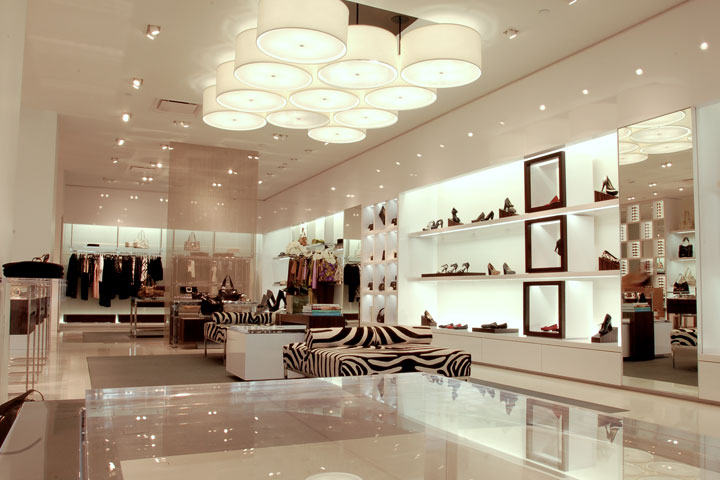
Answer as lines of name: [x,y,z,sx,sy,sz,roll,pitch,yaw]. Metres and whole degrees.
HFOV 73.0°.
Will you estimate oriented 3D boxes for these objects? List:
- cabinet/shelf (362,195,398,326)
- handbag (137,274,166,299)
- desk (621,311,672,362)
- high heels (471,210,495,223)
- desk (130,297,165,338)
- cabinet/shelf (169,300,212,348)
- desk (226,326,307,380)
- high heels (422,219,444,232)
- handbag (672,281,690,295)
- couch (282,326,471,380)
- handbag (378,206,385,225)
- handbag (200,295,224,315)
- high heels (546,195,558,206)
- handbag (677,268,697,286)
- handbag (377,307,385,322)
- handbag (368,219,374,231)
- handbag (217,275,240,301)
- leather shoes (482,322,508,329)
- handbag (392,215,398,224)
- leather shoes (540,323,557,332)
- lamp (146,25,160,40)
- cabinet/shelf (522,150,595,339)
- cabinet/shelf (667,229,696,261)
cabinet/shelf: [0.295,0.424,9.047,0.369,2.248,1.341,7,-9,-23]
handbag: [-5.735,1.317,13.186,0.654,0.946,1.004,3,-11,-18]
desk: [2.986,0.965,5.131,0.244,0.419,0.463,7,-7,29]
high heels: [1.837,-0.348,7.245,0.440,0.167,0.141,0,-1,0]
desk: [-5.499,1.980,12.460,1.084,0.979,0.854,2,-6,-22]
cabinet/shelf: [-2.991,1.463,8.571,0.875,0.799,0.453,3,-8,-24]
desk: [-1.089,1.105,5.407,0.827,0.487,0.809,3,-5,-24]
high heels: [1.218,-0.254,8.248,0.158,0.177,0.426,0,1,-29]
handbag: [3.078,0.466,4.673,0.046,0.113,0.115,3,2,-35]
couch: [0.159,0.992,4.281,1.272,0.452,1.300,8,-10,-32]
handbag: [0.396,-0.459,9.002,0.072,0.270,0.205,-3,7,1]
handbag: [-2.682,1.185,8.730,0.353,0.377,0.429,8,-13,-36]
high heels: [2.413,-0.495,6.132,0.118,0.156,0.379,1,6,3]
handbag: [3.107,0.349,4.628,0.089,0.150,0.160,10,-9,-27]
handbag: [0.369,1.376,8.866,0.087,0.250,0.144,10,20,-15]
handbag: [0.199,-0.257,9.297,0.110,0.140,0.130,-7,-12,44]
handbag: [-2.525,0.932,9.181,0.410,0.526,0.206,5,-29,-21]
leather shoes: [1.856,1.193,6.718,0.327,0.083,0.257,7,-9,-24]
handbag: [0.605,-0.354,8.688,0.091,0.154,0.169,7,-12,-27]
leather shoes: [2.309,1.081,5.944,0.078,0.091,0.224,5,-5,-32]
lamp: [-2.319,-2.344,5.437,0.107,0.098,0.103,-3,7,-27]
cabinet/shelf: [2.324,0.065,6.126,0.419,2.248,0.701,9,-10,-35]
cabinet/shelf: [3.097,0.046,4.680,0.171,0.278,0.298,4,-6,-30]
